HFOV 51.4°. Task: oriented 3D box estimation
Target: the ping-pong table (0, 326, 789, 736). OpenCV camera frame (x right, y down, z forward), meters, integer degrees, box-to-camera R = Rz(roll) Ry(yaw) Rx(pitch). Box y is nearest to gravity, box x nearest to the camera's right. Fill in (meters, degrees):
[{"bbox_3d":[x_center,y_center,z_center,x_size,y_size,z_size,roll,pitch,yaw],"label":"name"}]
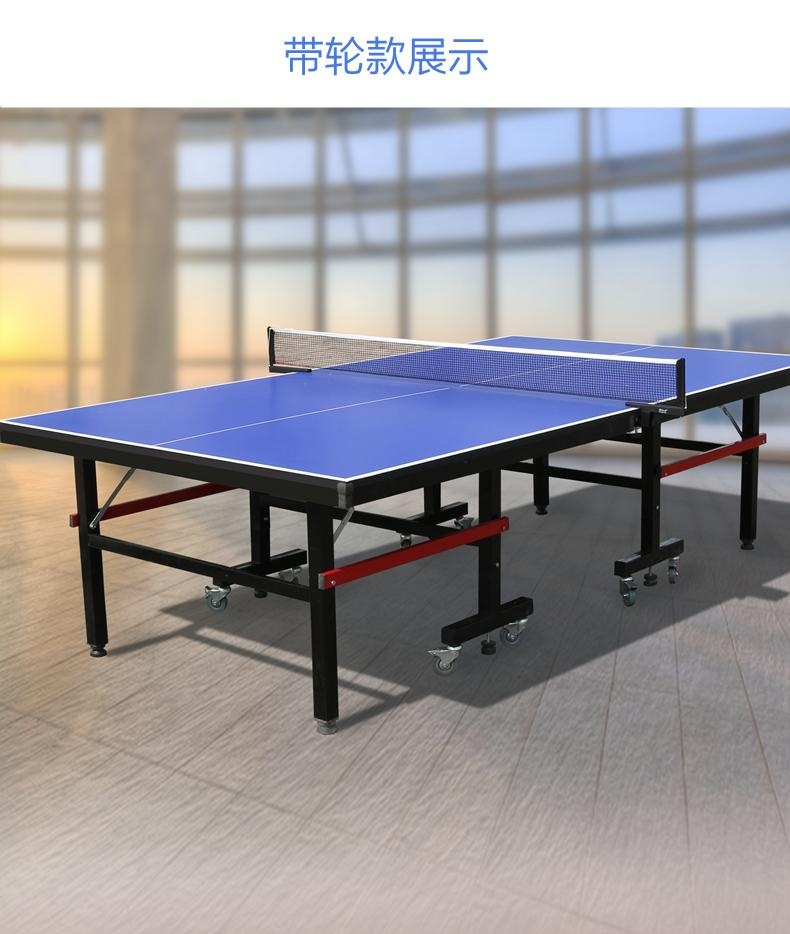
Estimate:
[{"bbox_3d":[0.059,0.260,3.124,1.150,0.604,1.824,6,11,37],"label":"ping-pong table"}]
